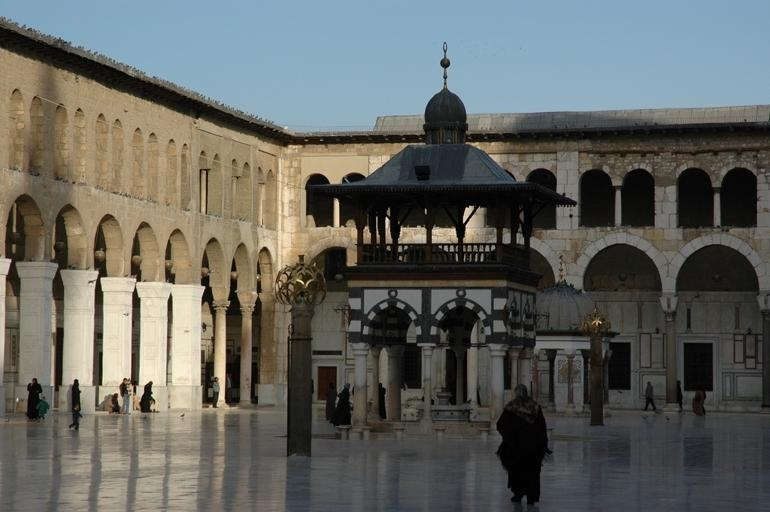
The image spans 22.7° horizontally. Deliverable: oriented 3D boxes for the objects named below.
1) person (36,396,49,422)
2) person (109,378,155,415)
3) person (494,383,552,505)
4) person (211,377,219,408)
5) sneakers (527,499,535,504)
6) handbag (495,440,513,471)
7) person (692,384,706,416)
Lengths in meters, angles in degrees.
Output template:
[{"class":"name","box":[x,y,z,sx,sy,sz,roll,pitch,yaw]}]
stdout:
[{"class":"person","box":[-11.281,4.964,62.321,0.295,0.711,1.313,1,-9,-7]},{"class":"person","box":[-8.831,4.889,66.399,1.103,1.215,2.139,-2,-9,11]},{"class":"person","box":[3.210,4.471,45.627,1.207,2.789,0.783,0,-9,0]},{"class":"person","box":[-6.440,5.040,71.511,0.215,1.112,0.442,2,-9,-10]},{"class":"sneakers","box":[3.429,5.781,45.340,0.207,0.072,0.094,1,-9,-6]},{"class":"handbag","box":[2.778,4.714,45.497,0.195,0.645,0.460,1,-6,-1]},{"class":"person","box":[11.616,5.380,70.869,0.589,1.024,0.242,-1,-5,31]}]
